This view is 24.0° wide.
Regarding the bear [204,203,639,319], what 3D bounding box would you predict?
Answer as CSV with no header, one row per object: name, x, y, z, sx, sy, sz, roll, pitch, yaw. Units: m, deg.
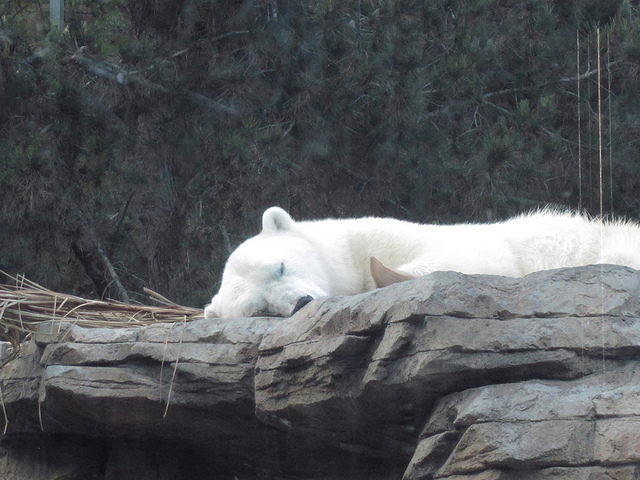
bear,0.696,0.175,12.198,3.257,1.001,0.964,2,-4,-1
